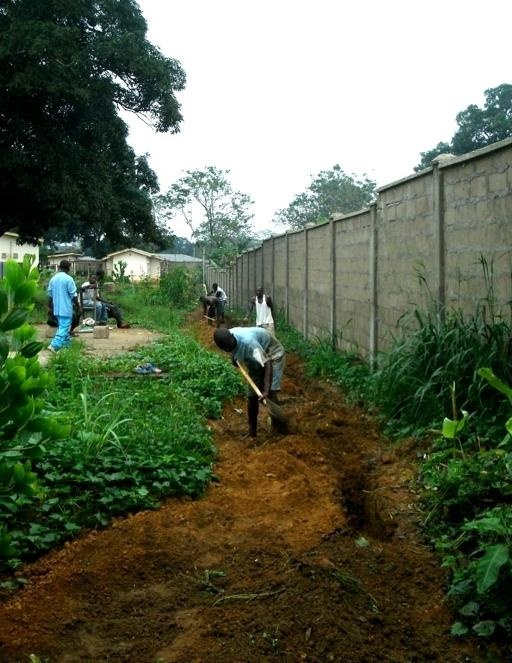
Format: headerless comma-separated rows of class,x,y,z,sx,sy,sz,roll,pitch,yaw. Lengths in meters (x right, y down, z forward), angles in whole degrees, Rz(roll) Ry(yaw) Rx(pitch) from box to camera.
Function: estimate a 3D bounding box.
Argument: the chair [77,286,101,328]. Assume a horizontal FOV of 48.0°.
chair,-4.638,-0.805,16.220,0.764,1.071,0.761,9,11,44
